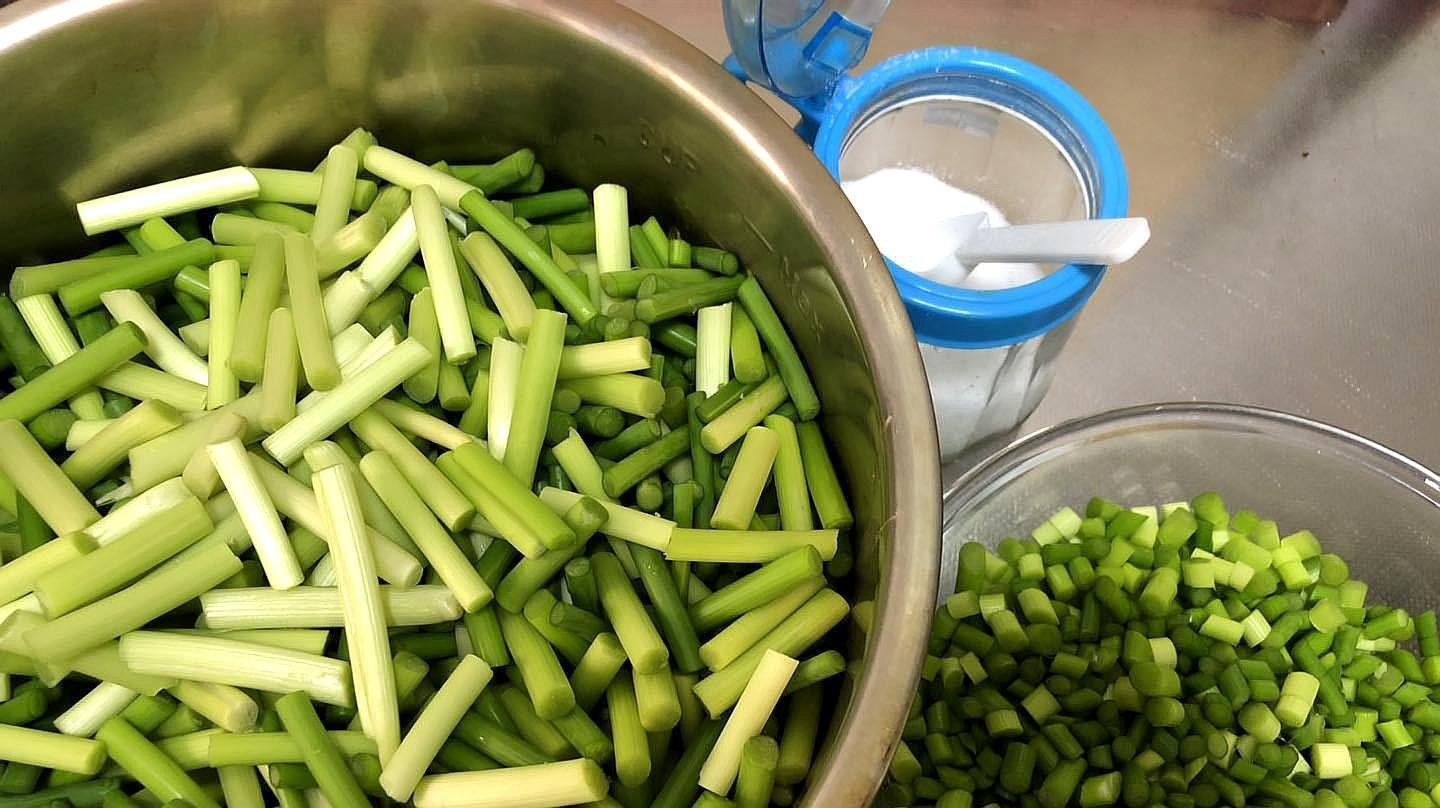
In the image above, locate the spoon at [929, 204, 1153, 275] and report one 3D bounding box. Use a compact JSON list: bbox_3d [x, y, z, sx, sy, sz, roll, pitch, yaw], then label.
[{"bbox_3d":[0.482,-0.244,1.927,0.412,0.112,0.101,1,-5,38],"label":"spoon"}]
